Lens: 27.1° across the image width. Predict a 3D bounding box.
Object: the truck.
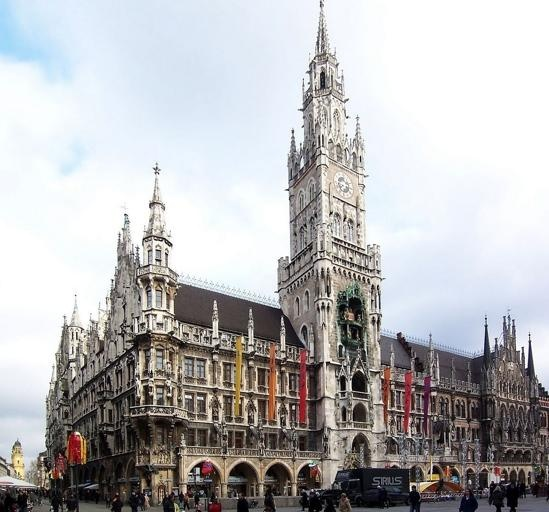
[{"bbox_3d":[9.264,21.225,102.358,5.741,3.383,3.595,1,-8,-22],"label":"truck"}]
